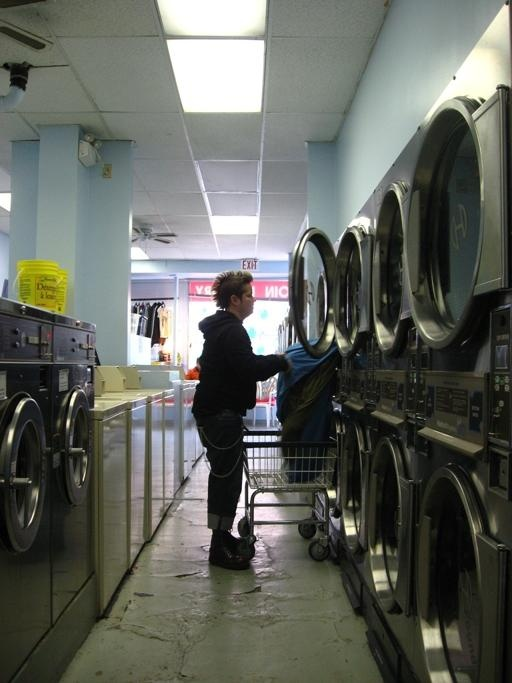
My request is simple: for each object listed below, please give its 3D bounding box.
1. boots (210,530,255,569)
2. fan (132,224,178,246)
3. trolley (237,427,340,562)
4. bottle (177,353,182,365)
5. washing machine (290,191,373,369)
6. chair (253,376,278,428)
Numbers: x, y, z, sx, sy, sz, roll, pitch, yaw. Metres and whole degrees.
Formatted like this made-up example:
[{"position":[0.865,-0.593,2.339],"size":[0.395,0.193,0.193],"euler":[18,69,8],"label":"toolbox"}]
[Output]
[{"position":[-0.133,1.036,2.558],"size":[0.109,0.285,0.293],"euler":[6,-12,-43],"label":"boots"},{"position":[-1.624,-1.619,8.012],"size":[0.707,0.183,1.044],"euler":[1,-5,-11],"label":"fan"},{"position":[0.150,0.832,2.757],"size":[0.351,0.670,0.739],"euler":[4,-7,-6],"label":"trolley"},{"position":[-1.669,0.338,10.918],"size":[0.088,0.240,0.464],"euler":[0,-4,-8],"label":"bottle"},{"position":[0.358,-0.246,2.223],"size":[0.371,1.037,0.617],"euler":[0,1,1],"label":"washing machine"},{"position":[0.201,1.105,9.271],"size":[0.399,0.937,0.475],"euler":[3,-5,-36],"label":"chair"}]
